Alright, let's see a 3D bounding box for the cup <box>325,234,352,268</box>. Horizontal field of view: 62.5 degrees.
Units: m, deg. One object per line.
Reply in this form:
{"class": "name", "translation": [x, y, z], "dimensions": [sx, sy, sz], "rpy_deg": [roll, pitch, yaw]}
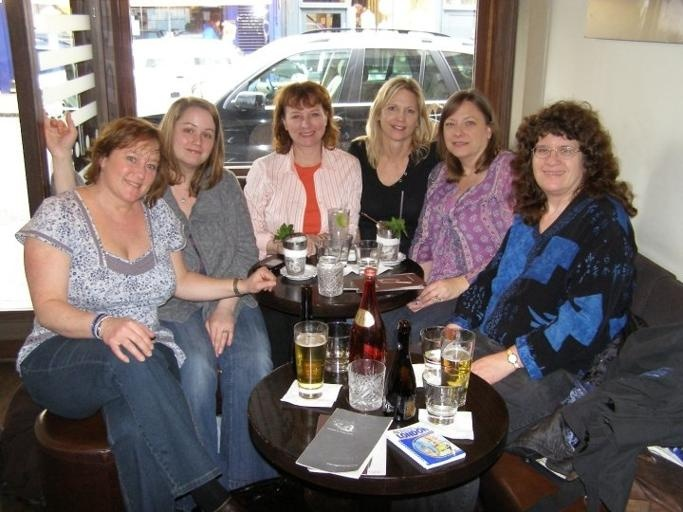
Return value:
{"class": "cup", "translation": [-0.012, -0.039, 2.897], "dimensions": [0.139, 0.153, 0.149], "rpy_deg": [0, 2, 0]}

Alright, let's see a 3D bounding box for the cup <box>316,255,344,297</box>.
{"class": "cup", "translation": [-0.055, 0.088, 2.471], "dimensions": [0.158, 0.214, 0.160], "rpy_deg": [0, 9, 0]}

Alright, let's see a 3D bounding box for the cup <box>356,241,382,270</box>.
{"class": "cup", "translation": [0.125, -0.006, 2.792], "dimensions": [0.128, 0.140, 0.136], "rpy_deg": [-1, 5, 0]}

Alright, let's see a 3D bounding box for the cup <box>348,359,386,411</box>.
{"class": "cup", "translation": [0.083, 0.436, 1.969], "dimensions": [0.159, 0.173, 0.158], "rpy_deg": [0, 6, 0]}

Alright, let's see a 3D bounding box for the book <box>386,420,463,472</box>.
{"class": "book", "translation": [0.253, 0.587, 1.745], "dimensions": [0.138, 0.031, 0.222], "rpy_deg": [-15, 25, -37]}

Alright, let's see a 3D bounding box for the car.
{"class": "car", "translation": [-0.218, -1.142, 4.248], "dimensions": [2.005, 0.837, 0.962], "rpy_deg": [0, 16, -7]}

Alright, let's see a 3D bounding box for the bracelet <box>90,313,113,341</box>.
{"class": "bracelet", "translation": [-0.941, 0.280, 2.190], "dimensions": [0.060, 0.094, 0.057], "rpy_deg": [12, 23, 29]}

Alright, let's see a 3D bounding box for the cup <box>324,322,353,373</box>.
{"class": "cup", "translation": [-0.003, 0.331, 2.114], "dimensions": [0.154, 0.174, 0.158], "rpy_deg": [2, 13, -1]}

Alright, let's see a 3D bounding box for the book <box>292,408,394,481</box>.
{"class": "book", "translation": [0.012, 0.583, 1.754], "dimensions": [0.193, 0.058, 0.273], "rpy_deg": [10, 22, 26]}

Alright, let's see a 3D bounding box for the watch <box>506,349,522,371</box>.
{"class": "watch", "translation": [0.688, 0.417, 2.266], "dimensions": [0.071, 0.070, 0.067], "rpy_deg": [-11, -5, 9]}
